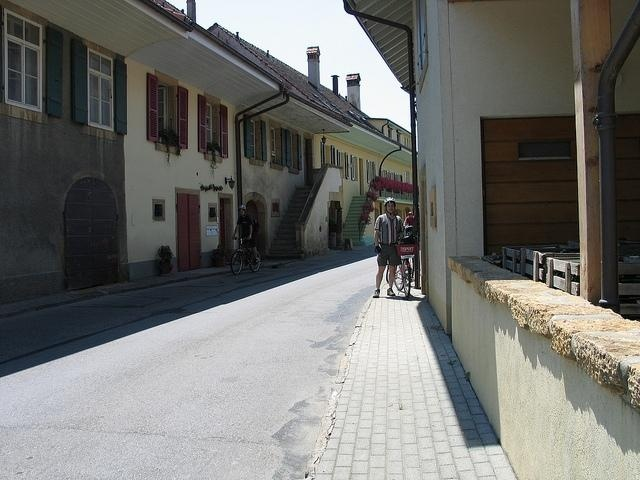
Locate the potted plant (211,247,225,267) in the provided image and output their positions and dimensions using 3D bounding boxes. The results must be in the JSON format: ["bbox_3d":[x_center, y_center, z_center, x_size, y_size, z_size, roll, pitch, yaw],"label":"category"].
[{"bbox_3d":[-3.624,0.655,19.236,0.446,0.617,0.516,-2,0,-3],"label":"potted plant"}]

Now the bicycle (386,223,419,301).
[{"bbox_3d":[1.889,0.451,12.088,0.486,1.478,1.829,0,3,8],"label":"bicycle"}]

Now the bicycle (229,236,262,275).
[{"bbox_3d":[-2.437,0.581,17.570,0.557,0.908,1.286,-3,-4,19],"label":"bicycle"}]

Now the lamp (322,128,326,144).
[{"bbox_3d":[0.179,-5.647,30.460,0.323,1.005,0.397,-3,4,1],"label":"lamp"}]

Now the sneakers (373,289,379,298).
[{"bbox_3d":[1.211,1.164,11.825,0.106,0.162,0.362,-1,-7,11],"label":"sneakers"}]

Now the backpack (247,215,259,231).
[{"bbox_3d":[-2.327,-0.560,18.595,0.330,0.777,0.591,-6,11,-8],"label":"backpack"}]

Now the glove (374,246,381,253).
[{"bbox_3d":[1.224,0.205,11.592,0.111,0.224,0.130,8,13,41],"label":"glove"}]
